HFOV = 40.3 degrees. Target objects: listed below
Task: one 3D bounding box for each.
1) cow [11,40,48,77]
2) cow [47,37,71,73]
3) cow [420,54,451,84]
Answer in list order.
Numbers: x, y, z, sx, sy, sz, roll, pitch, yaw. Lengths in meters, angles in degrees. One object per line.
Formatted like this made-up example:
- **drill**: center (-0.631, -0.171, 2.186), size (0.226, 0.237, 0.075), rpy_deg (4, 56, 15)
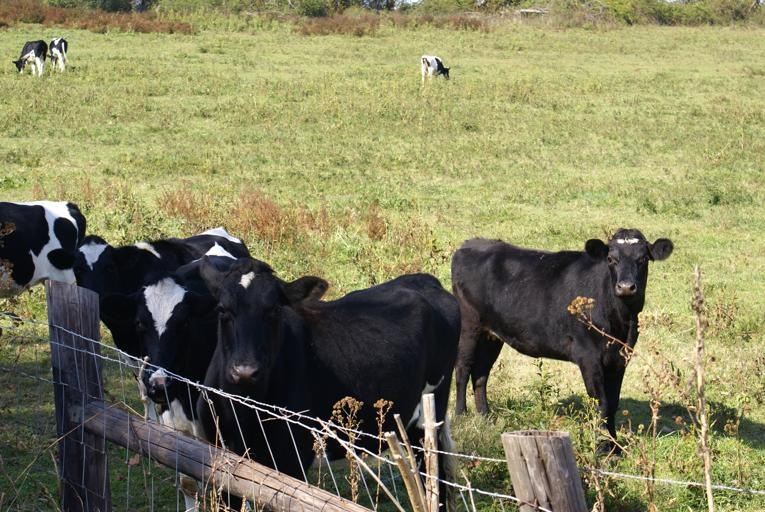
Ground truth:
- **cow**: center (-13.484, -7.557, 40.151), size (1.249, 1.342, 0.813), rpy_deg (6, 11, 30)
- **cow**: center (-12.697, -7.805, 40.792), size (0.636, 1.282, 1.383), rpy_deg (-3, 11, -19)
- **cow**: center (2.188, -7.629, 43.023), size (1.191, 1.073, 1.678), rpy_deg (1, 11, 2)
